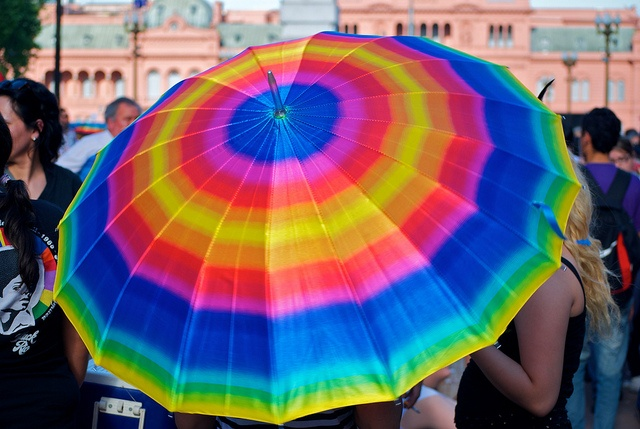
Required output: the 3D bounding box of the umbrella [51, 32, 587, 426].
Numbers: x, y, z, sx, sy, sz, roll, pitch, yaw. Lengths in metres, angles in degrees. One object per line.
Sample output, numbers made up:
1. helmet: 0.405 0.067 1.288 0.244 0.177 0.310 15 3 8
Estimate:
1. umbrella: 0.071 0.158 3.523 1.642 1.700 0.713 -33 -30 -1
